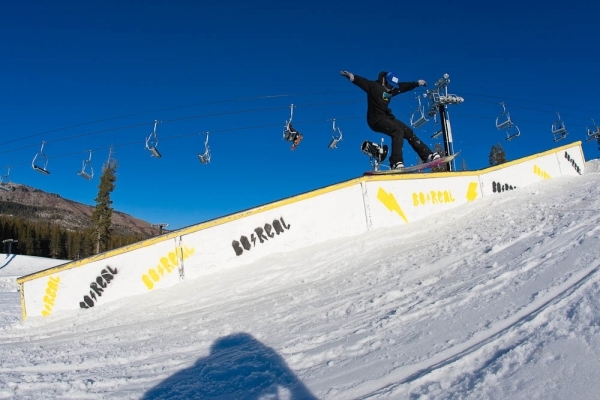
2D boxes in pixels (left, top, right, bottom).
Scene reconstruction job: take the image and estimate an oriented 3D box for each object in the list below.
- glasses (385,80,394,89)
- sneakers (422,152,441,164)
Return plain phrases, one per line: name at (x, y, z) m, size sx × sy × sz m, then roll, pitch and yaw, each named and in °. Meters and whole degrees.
glasses at (2.639, -3.391, 13.842) m, size 0.277 × 0.180 × 0.215 m, roll 19°, pitch 0°, yaw 44°
sneakers at (4.049, -1.277, 14.564) m, size 0.231 × 0.267 × 0.640 m, roll -21°, pitch -9°, yaw -6°
